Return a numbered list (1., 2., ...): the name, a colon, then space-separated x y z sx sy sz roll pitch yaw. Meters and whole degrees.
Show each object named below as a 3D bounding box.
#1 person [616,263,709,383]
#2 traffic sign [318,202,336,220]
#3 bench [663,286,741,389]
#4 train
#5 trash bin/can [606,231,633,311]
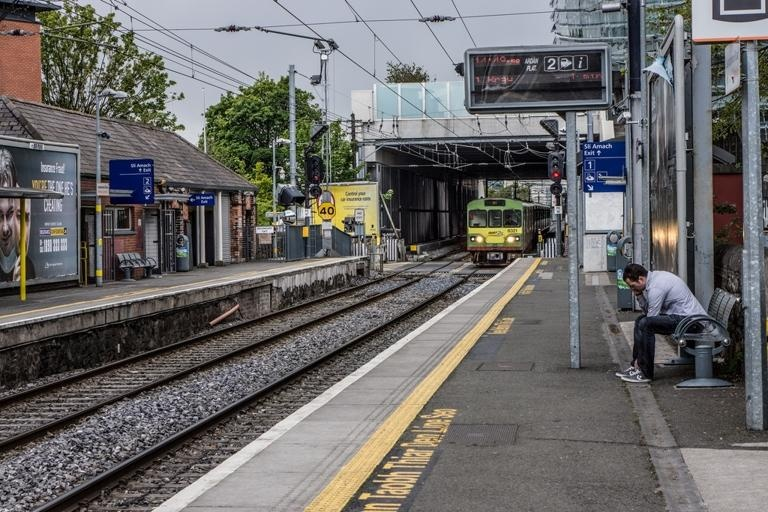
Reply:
1. person: 4.232 1.049 11.542 1.146 1.912 1.133 -1 -2 -42
2. traffic sign: -2.607 -2.013 33.710 0.680 0.752 0.929 -2 4 -3
3. bench: 4.999 1.161 11.745 0.877 1.288 2.057 -2 4 16
4. train: 8.125 -1.808 49.796 3.237 4.098 9.161 -1 4 18
5. trash bin/can: 6.622 0.405 20.969 0.771 2.420 0.705 -1 0 1
